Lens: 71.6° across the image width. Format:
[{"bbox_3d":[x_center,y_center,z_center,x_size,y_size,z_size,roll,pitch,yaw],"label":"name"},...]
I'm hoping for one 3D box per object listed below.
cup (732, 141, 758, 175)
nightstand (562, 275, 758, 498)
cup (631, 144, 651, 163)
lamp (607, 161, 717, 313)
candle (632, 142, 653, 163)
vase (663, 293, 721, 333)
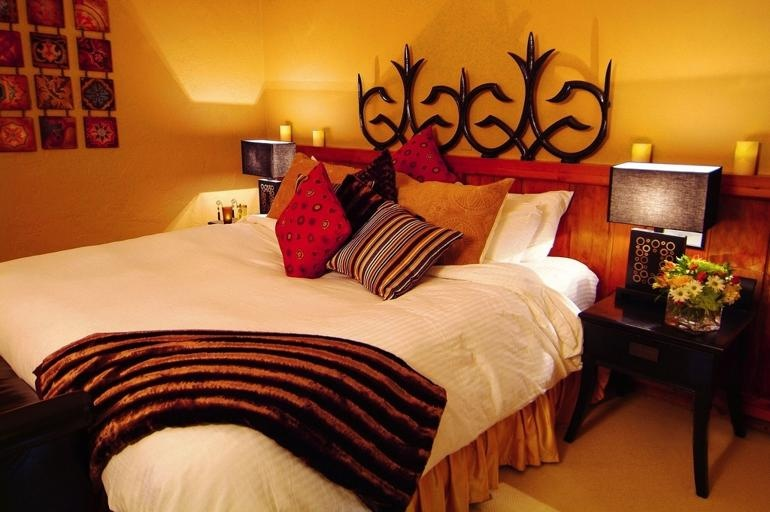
[{"bbox_3d":[1.931,-0.523,2.856,0.108,0.178,0.077,12,18,30],"label":"cup"},{"bbox_3d":[1.563,0.607,2.957,0.790,1.007,0.812,16,19,40],"label":"nightstand"},{"bbox_3d":[1.489,-0.600,3.105,0.106,0.116,0.108,1,13,0],"label":"cup"},{"bbox_3d":[1.495,-0.159,2.917,0.341,0.462,0.663,-10,13,-44],"label":"lamp"},{"bbox_3d":[1.491,-0.590,3.115,0.108,0.119,0.120,1,1,-31],"label":"candle"},{"bbox_3d":[1.546,0.255,2.687,0.198,0.221,0.205,8,11,40],"label":"vase"}]
